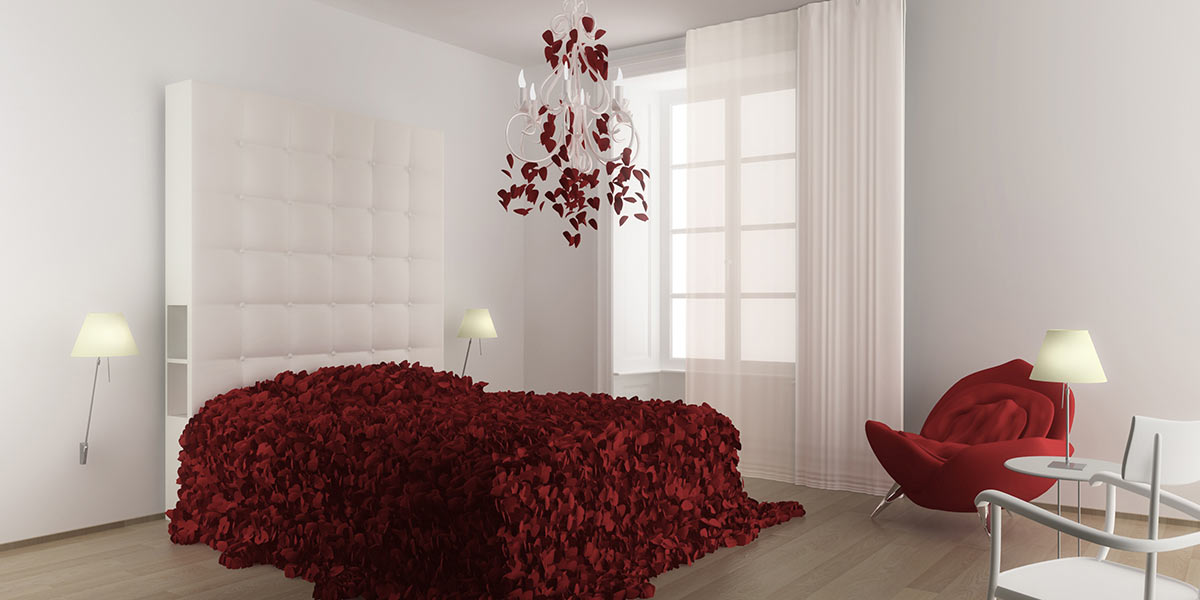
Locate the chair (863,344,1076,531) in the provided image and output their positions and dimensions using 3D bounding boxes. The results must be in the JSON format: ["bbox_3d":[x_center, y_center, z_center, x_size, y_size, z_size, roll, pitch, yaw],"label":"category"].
[{"bbox_3d":[3.323,1.177,6.166,1.726,1.347,1.601,4,-8,-32],"label":"chair"}]

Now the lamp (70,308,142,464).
[{"bbox_3d":[-4.280,0.778,5.783,0.427,1.195,0.459,-3,-1,-37],"label":"lamp"}]

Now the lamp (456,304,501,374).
[{"bbox_3d":[-1.381,0.465,7.641,0.620,0.720,0.569,0,8,6],"label":"lamp"}]
